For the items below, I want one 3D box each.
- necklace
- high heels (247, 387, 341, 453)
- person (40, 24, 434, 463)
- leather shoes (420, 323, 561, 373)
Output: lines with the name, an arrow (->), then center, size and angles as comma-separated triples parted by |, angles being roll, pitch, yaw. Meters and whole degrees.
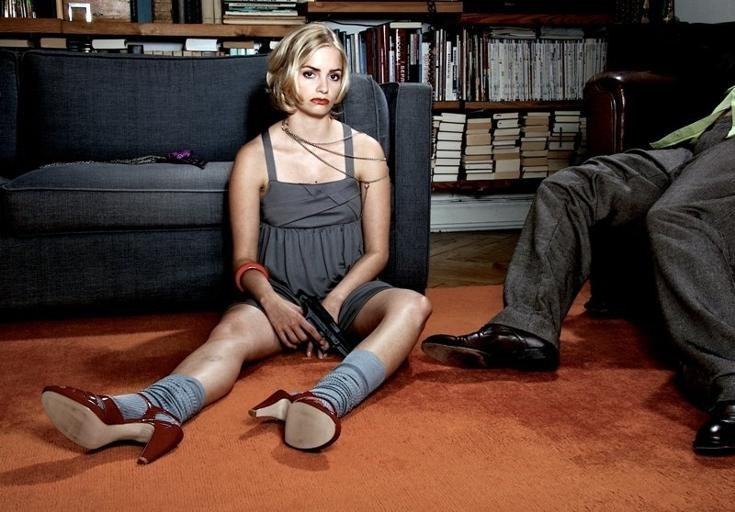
necklace -> -0.122, -0.313, 1.768 | 0.347, 0.062, 0.183 | 17, 54, -8
high heels -> -0.159, 0.372, 1.231 | 0.122, 0.048, 0.145 | -5, 2, 10
person -> -0.193, -0.009, 1.433 | 0.666, 0.722, 1.062 | 13, 25, 3
leather shoes -> 0.336, 0.239, 1.576 | 0.448, 0.152, 0.133 | 9, -4, 0
